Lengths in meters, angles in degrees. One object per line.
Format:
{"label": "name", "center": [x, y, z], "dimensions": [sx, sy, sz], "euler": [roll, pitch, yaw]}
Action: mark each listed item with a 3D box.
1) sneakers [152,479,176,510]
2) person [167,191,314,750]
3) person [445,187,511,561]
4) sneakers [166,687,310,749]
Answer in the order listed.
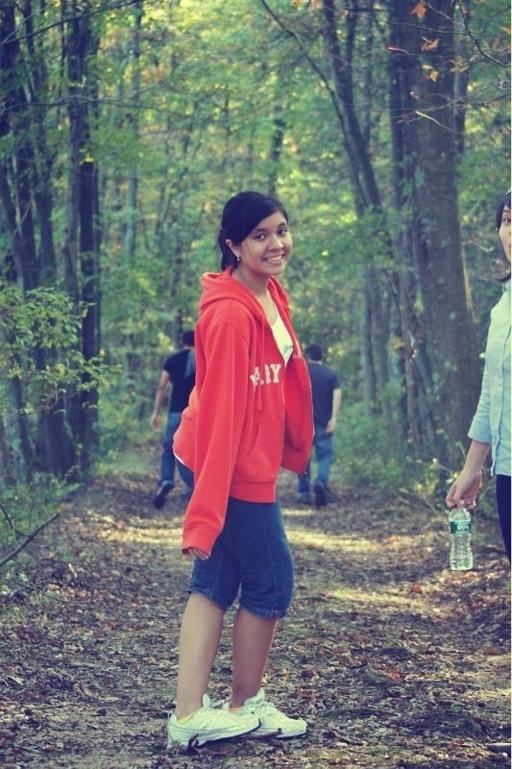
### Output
{"label": "sneakers", "center": [-0.758, 0.927, 9.352], "dimensions": [0.104, 0.319, 0.134], "euler": [18, 37, -7]}
{"label": "person", "center": [-0.060, 0.339, 4.729], "dimensions": [0.673, 2.248, 0.648], "euler": [-1, 9, -23]}
{"label": "person", "center": [0.921, 0.102, 4.635], "dimensions": [0.254, 1.082, 0.486], "euler": [4, 8, 9]}
{"label": "sneakers", "center": [-0.080, 1.321, 4.698], "dimensions": [0.614, 0.297, 0.214], "euler": [-1, -8, -13]}
